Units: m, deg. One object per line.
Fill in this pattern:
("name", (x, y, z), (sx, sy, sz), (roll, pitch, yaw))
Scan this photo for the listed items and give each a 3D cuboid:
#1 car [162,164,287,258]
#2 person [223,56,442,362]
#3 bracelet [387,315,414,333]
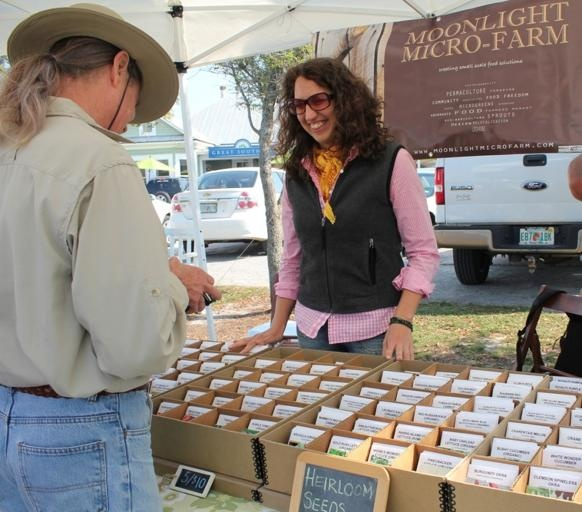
("car", (-1.390, -0.724, 10.785), (1.655, 1.073, 3.467), (-1, -4, 1))
("person", (0.208, -0.208, 2.261), (0.810, 1.331, 0.410), (0, 12, 30))
("bracelet", (0.460, 0.275, 2.115), (0.074, 0.028, 0.076), (8, -12, 37))
